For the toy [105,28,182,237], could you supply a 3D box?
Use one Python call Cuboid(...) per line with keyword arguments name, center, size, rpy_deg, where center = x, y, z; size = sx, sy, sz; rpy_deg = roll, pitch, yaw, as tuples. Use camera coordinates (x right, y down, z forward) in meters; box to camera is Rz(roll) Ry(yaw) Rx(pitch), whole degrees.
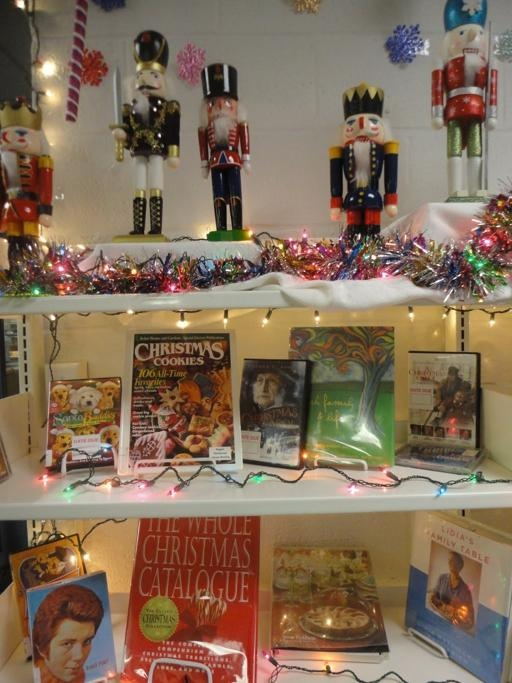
Cuboid(name="toy", center=(-0.234, -0.426, 1.168), size=(0.154, 0.402, 0.094), rpy_deg=(2, 4, -6))
